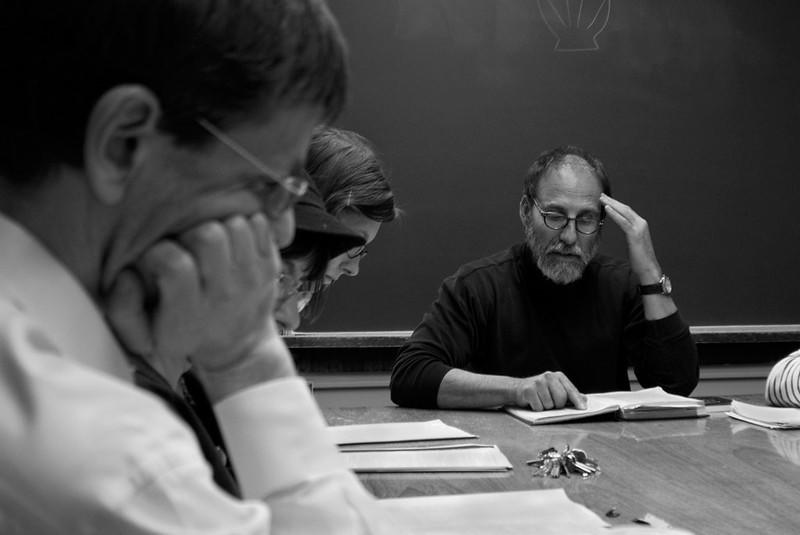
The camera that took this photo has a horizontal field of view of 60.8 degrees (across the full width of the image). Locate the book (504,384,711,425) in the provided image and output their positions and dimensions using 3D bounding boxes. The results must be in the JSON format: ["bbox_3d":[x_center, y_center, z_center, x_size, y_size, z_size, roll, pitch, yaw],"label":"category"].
[{"bbox_3d":[0.521,0.333,1.681,0.495,0.058,0.381,-1,-8,-2],"label":"book"}]

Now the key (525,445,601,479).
[{"bbox_3d":[0.279,0.332,1.176,0.128,0.034,0.146,-1,-4,24],"label":"key"}]

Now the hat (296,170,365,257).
[{"bbox_3d":[-0.093,-0.065,0.807,0.101,0.074,0.069,-2,-15,-7],"label":"hat"}]

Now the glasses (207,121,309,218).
[{"bbox_3d":[-0.108,-0.074,0.508,0.038,0.062,0.054,4,15,15],"label":"glasses"}]

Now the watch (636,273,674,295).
[{"bbox_3d":[0.855,0.072,2.278,0.095,0.065,0.099,-5,11,19],"label":"watch"}]
